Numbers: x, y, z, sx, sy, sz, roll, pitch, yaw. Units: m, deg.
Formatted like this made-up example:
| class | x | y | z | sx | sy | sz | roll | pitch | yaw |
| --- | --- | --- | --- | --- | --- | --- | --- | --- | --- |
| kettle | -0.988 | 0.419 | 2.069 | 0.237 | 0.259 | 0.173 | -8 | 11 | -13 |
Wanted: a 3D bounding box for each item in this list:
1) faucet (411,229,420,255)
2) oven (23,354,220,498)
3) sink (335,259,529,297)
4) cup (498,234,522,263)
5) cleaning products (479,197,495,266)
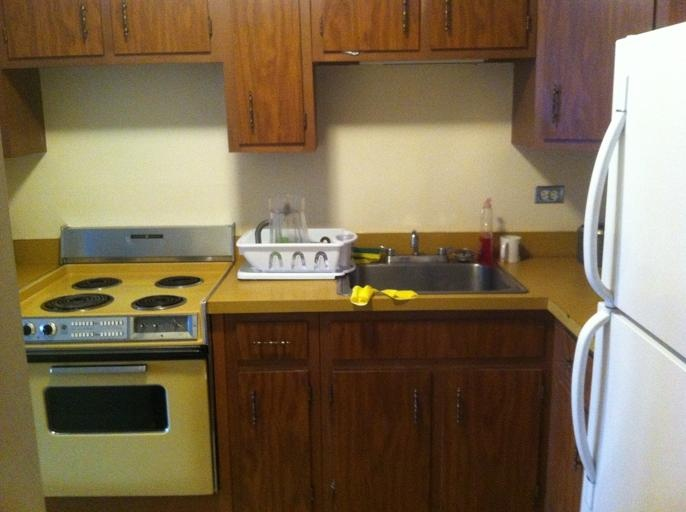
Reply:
| class | x | y | z | sx | sy | sz | roll | pitch | yaw |
| --- | --- | --- | --- | --- | --- | --- | --- | --- | --- |
| faucet | 0.346 | -0.066 | 2.968 | 0.041 | 0.119 | 0.097 | -3 | 9 | 7 |
| oven | -0.879 | 0.665 | 2.609 | 0.851 | 0.640 | 0.525 | 0 | 3 | 0 |
| sink | 0.406 | 0.119 | 2.731 | 0.776 | 0.152 | 0.430 | -1 | 9 | 17 |
| cup | 0.793 | -0.031 | 2.937 | 0.102 | 0.123 | 0.082 | -4 | 9 | -1 |
| cleaning products | 0.677 | -0.119 | 2.926 | 0.068 | 0.297 | 0.204 | -2 | 9 | 13 |
